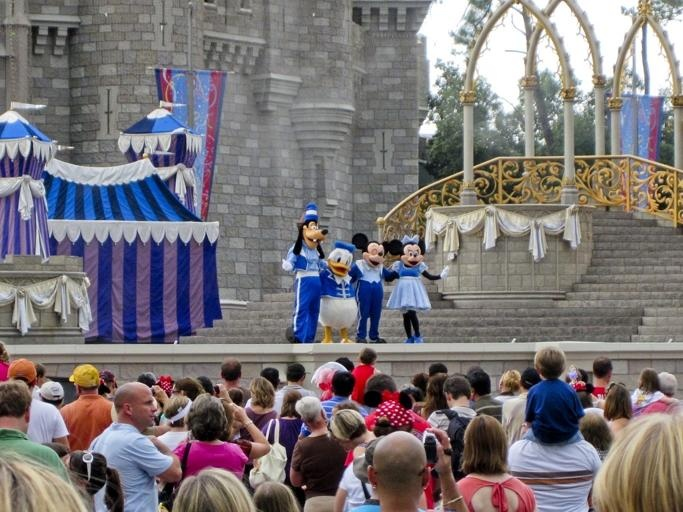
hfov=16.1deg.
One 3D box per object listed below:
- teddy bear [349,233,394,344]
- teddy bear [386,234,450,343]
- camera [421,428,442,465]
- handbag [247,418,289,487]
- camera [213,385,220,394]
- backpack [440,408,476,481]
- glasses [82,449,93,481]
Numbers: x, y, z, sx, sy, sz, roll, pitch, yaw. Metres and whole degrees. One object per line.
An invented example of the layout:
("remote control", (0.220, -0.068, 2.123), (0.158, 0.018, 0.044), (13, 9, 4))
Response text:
("teddy bear", (0.458, 0.559, 36.605), (0.609, 1.672, 0.543), (0, 5, -8))
("teddy bear", (1.093, 0.557, 36.851), (0.824, 1.732, 0.710), (-3, 2, -11))
("camera", (1.069, 2.358, 28.612), (0.170, 0.414, 0.347), (1, 1, 2))
("handbag", (-0.940, 2.577, 30.432), (0.493, 0.887, 0.269), (1, 2, 11))
("camera", (-1.610, 1.781, 30.865), (0.083, 0.106, 0.038), (4, -3, 20))
("backpack", (1.423, 2.427, 30.010), (0.370, 0.867, 0.497), (1, 1, 8))
("glasses", (-3.052, 2.561, 28.713), (0.086, 0.381, 0.079), (7, -18, -17))
